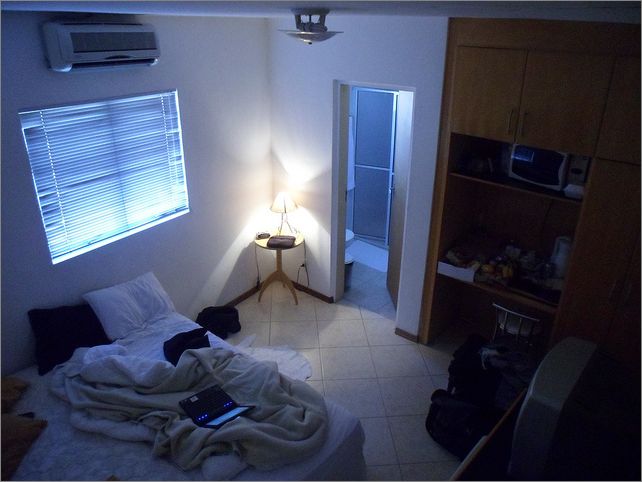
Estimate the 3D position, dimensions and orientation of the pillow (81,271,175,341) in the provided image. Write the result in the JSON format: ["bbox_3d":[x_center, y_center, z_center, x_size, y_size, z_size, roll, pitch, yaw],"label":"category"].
[{"bbox_3d":[-1.843,0.634,4.548,0.193,0.532,0.719,-35,-5,26],"label":"pillow"}]

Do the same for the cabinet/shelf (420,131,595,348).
[{"bbox_3d":[1.758,-0.090,4.409,1.321,2.533,0.739,17,37,19],"label":"cabinet/shelf"}]

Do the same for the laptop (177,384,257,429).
[{"bbox_3d":[-0.819,1.296,3.615,0.508,0.083,0.345,15,28,30],"label":"laptop"}]

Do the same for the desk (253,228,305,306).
[{"bbox_3d":[-0.513,0.239,6.089,0.807,0.984,0.787,2,35,1],"label":"desk"}]

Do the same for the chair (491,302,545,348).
[{"bbox_3d":[1.959,0.837,4.631,0.289,0.464,0.318,21,55,29],"label":"chair"}]

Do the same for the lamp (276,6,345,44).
[{"bbox_3d":[-0.081,-1.509,3.293,0.310,0.216,0.376,-10,25,-22],"label":"lamp"}]

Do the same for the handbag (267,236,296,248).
[{"bbox_3d":[-0.477,0.013,5.680,0.332,0.075,0.296,1,24,2],"label":"handbag"}]

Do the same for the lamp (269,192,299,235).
[{"bbox_3d":[-0.473,-0.359,5.843,0.396,0.556,0.365,6,24,15],"label":"lamp"}]

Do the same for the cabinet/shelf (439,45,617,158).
[{"bbox_3d":[1.700,-1.161,3.791,0.937,0.598,0.373,20,31,34],"label":"cabinet/shelf"}]
